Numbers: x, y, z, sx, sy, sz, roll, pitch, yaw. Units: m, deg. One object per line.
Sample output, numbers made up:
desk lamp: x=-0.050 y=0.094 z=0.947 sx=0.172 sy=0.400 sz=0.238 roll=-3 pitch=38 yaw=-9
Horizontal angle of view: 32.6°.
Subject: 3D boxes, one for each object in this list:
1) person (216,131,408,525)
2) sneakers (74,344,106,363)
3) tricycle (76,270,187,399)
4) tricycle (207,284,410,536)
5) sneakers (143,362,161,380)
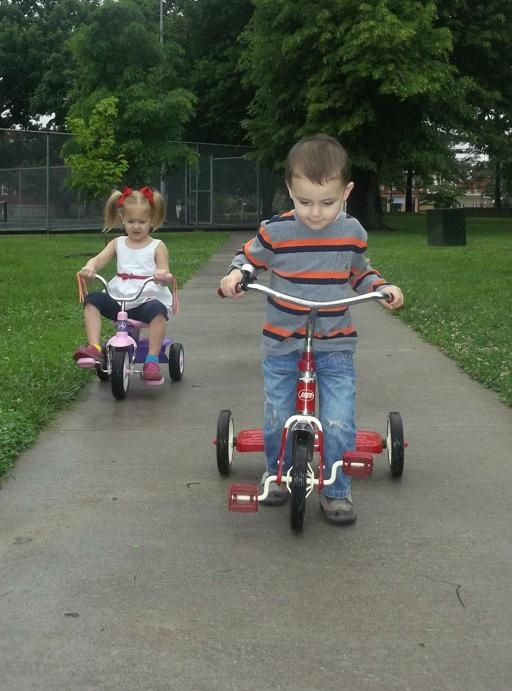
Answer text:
person: x=0.203 y=-0.034 z=3.197 sx=0.651 sy=1.372 sz=0.560 roll=4 pitch=17 yaw=18
sneakers: x=-1.035 y=0.057 z=5.427 sx=0.190 sy=0.110 sz=0.130 roll=-4 pitch=7 yaw=-23
tricycle: x=-0.814 y=-0.071 z=5.829 sx=0.608 sy=0.767 sz=1.143 roll=0 pitch=6 yaw=4
tricycle: x=0.193 y=0.229 z=3.424 sx=0.750 sy=0.927 sz=1.090 roll=3 pitch=11 yaw=5
sneakers: x=-0.661 y=0.170 z=5.535 sx=0.074 sy=0.062 sz=0.135 roll=2 pitch=31 yaw=-6
